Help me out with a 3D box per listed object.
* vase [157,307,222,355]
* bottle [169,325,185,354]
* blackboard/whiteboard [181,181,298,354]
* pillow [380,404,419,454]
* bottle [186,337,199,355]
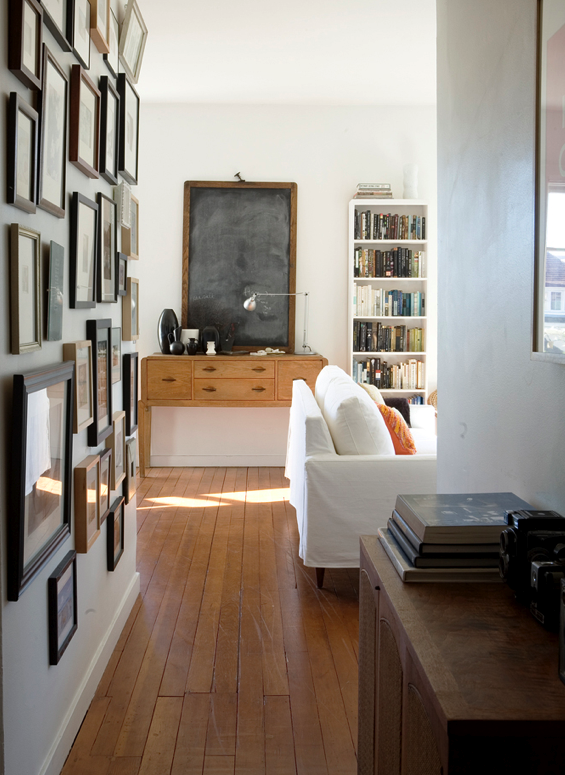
[{"bbox_3d":[-0.821,-0.497,5.182,0.470,0.645,0.340,3,3,3],"label":"vase"},{"bbox_3d":[-0.926,-0.415,5.078,0.168,0.233,0.151,-7,9,-40],"label":"bottle"},{"bbox_3d":[-0.426,-1.125,5.214,1.060,2.271,0.088,0,1,-3],"label":"blackboard/whiteboard"},{"bbox_3d":[0.592,0.210,2.948,0.049,0.223,0.197,-13,-14,11],"label":"pillow"},{"bbox_3d":[-0.784,-0.369,5.014,0.091,0.156,0.113,-2,10,-14],"label":"bottle"}]
